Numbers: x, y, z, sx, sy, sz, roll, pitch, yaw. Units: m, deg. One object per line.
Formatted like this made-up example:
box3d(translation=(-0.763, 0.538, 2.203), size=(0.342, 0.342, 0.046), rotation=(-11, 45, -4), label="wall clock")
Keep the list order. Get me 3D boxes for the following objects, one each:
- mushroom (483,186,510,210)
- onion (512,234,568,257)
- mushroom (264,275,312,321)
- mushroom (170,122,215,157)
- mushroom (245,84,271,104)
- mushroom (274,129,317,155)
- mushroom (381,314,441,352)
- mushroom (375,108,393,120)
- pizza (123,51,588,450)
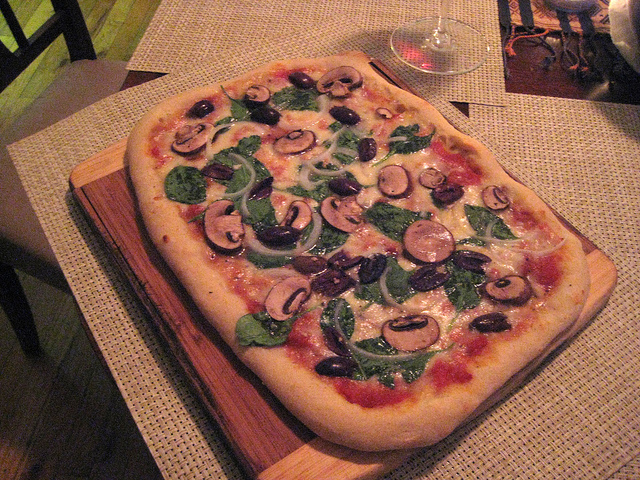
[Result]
box3d(translation=(0.354, -0.085, 1.106), size=(0.053, 0.013, 0.046), rotation=(-30, 65, -21), label="mushroom")
box3d(translation=(0.429, 0.007, 1.020), size=(0.065, 0.015, 0.025), rotation=(-12, 52, -3), label="onion")
box3d(translation=(-0.057, 0.103, 0.988), size=(0.068, 0.021, 0.086), rotation=(39, 67, 18), label="mushroom")
box3d(translation=(-0.277, -0.228, 1.174), size=(0.093, 0.021, 0.064), rotation=(-18, 28, 34), label="mushroom")
box3d(translation=(-0.141, -0.331, 1.225), size=(0.062, 0.022, 0.046), rotation=(-6, 55, -8), label="mushroom")
box3d(translation=(-0.051, -0.212, 1.172), size=(0.066, 0.019, 0.071), rotation=(31, 53, 32), label="mushroom")
box3d(translation=(0.163, 0.164, 0.966), size=(0.120, 0.028, 0.068), rotation=(-15, 61, 40), label="mushroom")
box3d(translation=(0.146, -0.285, 1.216), size=(0.027, 0.008, 0.035), rotation=(-21, 46, -21), label="mushroom")
box3d(translation=(0.054, -0.027, 1.113), size=(0.697, 0.213, 0.916), rotation=(-27, 57, -16), label="pizza")
